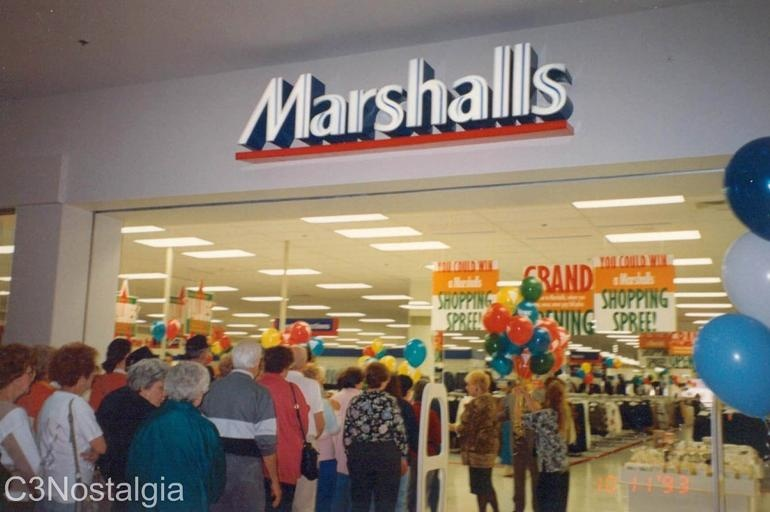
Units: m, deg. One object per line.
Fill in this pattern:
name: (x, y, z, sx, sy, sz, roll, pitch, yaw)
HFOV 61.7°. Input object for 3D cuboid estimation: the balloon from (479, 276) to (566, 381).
balloon: (1.713, 0.863, 7.892, 1.060, 1.266, 0.742, 11, -16, -37)

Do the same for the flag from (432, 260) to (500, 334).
flag: (1.393, 0.692, 11.121, 1.339, 1.332, 0.064, -3, -23, 16)
